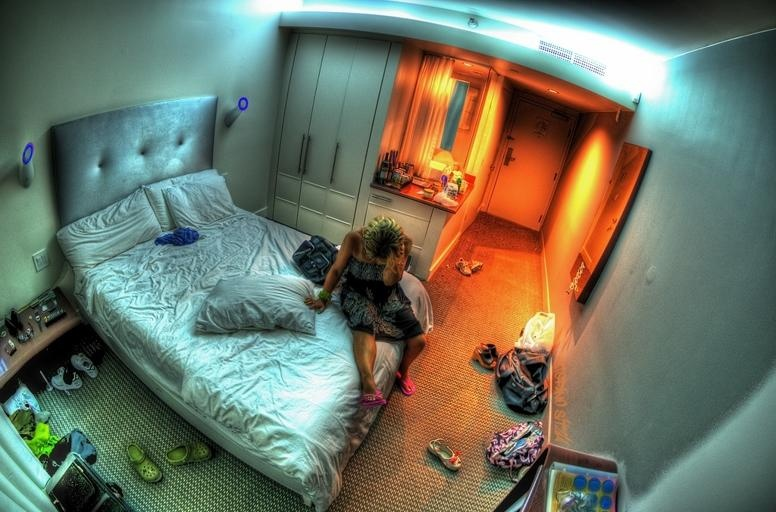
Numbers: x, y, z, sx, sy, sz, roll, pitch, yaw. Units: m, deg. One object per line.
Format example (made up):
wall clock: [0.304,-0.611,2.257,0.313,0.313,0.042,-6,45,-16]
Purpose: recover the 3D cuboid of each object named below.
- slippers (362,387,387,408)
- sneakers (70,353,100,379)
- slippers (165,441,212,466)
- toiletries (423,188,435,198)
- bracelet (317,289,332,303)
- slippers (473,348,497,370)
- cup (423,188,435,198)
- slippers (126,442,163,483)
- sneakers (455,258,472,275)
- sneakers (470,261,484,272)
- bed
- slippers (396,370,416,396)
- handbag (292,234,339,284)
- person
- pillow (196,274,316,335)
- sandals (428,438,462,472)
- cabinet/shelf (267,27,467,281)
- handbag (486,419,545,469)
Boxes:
slippers: [-0.113,1.115,3.674,0.100,0.110,0.224,-4,-6,7]
sneakers: [-2.532,0.915,3.952,0.260,0.142,0.100,44,-22,-22]
slippers: [-1.513,1.492,3.543,0.286,0.111,0.155,-6,50,-16]
toiletries: [0.491,-0.741,5.520,0.118,0.088,0.121,8,37,-18]
bracelet: [-0.556,0.348,4.080,0.113,0.051,0.113,-9,68,-20]
slippers: [0.965,1.028,4.744,0.137,0.111,0.250,-26,48,-25]
cup: [0.480,-0.744,5.525,0.112,0.081,0.112,15,26,-8]
slippers: [-1.793,1.540,3.497,0.381,0.145,0.151,40,51,23]
sneakers: [0.991,0.138,6.117,0.145,0.084,0.218,-1,28,-7]
sneakers: [1.176,0.143,6.200,0.132,0.065,0.134,24,32,14]
bed: [-1.188,0.118,4.079,2.872,2.645,1.762,18,20,25]
slippers: [0.163,1.159,4.279,0.118,0.068,0.276,-20,44,-16]
handbag: [-0.702,0.023,4.481,0.340,0.192,0.457,31,78,26]
person: [-0.177,0.294,4.036,0.891,0.949,1.691,4,42,-11]
pillow: [-1.093,0.398,3.801,0.603,0.172,0.579,5,34,-10]
sandals: [0.465,1.628,3.852,0.280,0.115,0.162,33,41,29]
cabinet/shelf: [-0.233,-1.262,5.330,1.984,2.407,0.733,20,25,13]
handbag: [1.086,1.586,4.027,0.453,0.305,0.446,12,18,7]
